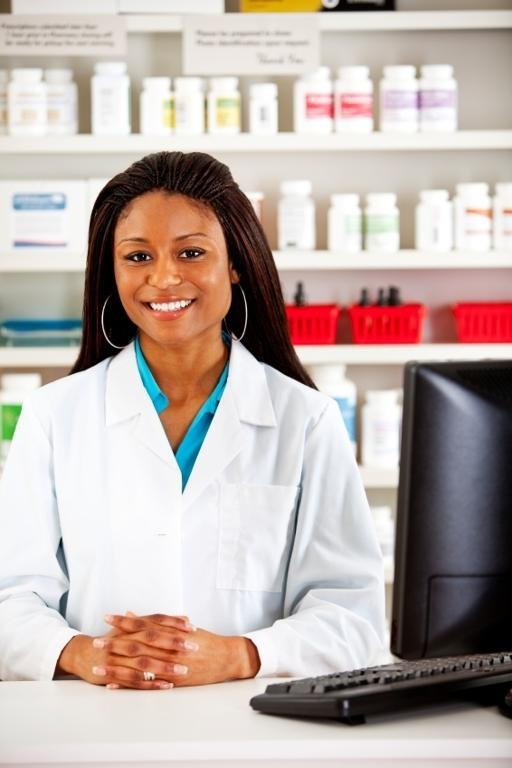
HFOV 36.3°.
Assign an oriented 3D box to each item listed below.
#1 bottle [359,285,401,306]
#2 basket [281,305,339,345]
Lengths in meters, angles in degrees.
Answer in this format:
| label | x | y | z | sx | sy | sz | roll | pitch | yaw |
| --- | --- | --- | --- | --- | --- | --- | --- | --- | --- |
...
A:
| label | x | y | z | sx | sy | sz | roll | pitch | yaw |
| --- | --- | --- | --- | --- | --- | --- | --- | --- | --- |
| bottle | 0.411 | -0.281 | 2.614 | 0.100 | 0.070 | 0.097 | 0 | 1 | 0 |
| basket | 0.191 | -0.200 | 2.598 | 0.133 | 0.090 | 0.183 | 0 | 3 | 2 |
